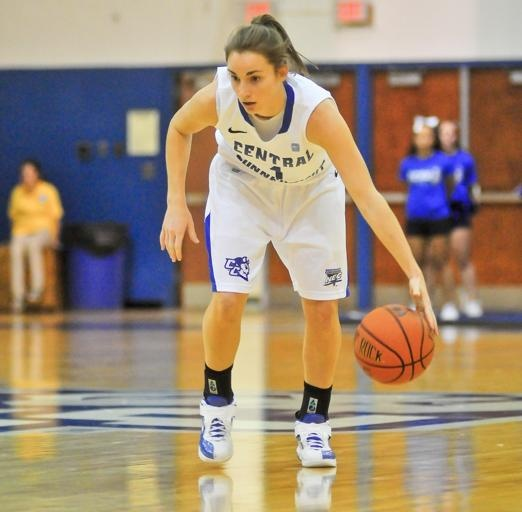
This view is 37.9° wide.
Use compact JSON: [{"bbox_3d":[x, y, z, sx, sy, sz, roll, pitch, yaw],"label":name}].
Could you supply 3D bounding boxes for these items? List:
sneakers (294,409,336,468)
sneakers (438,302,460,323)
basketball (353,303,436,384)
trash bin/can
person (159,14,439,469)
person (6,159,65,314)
[{"bbox_3d":[0.148,0.524,2.121,0.106,0.153,0.326,2,-7,0],"label":"sneakers"},{"bbox_3d":[1.547,0.456,6.254,0.166,0.138,0.396,-1,3,14],"label":"sneakers"},{"bbox_3d":[0.328,0.216,2.052,0.188,0.222,0.203,-8,-4,-18],"label":"basketball"},{"bbox_3d":[-1.656,0.044,7.637,0.672,0.876,0.708,-3,25,-19],"label":"trash bin/can"},{"bbox_3d":[0.115,-0.002,2.039,0.711,1.292,0.588,4,12,12],"label":"person"},{"bbox_3d":[-1.996,-0.152,6.729,0.400,1.294,0.378,-4,4,-40],"label":"person"}]
